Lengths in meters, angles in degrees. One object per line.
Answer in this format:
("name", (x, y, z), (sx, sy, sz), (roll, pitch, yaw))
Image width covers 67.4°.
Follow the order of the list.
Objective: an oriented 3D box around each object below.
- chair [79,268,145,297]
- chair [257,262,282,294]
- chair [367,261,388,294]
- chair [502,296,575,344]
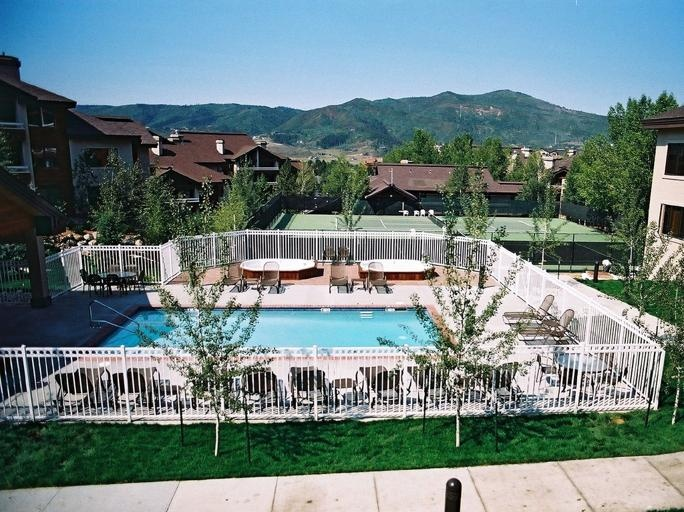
("chair", (-10.162, 1.151, 22.783), (2.443, 0.990, 1.464), (-4, 10, -20))
("chair", (-3.373, 1.191, 23.722), (1.082, 1.123, 1.704), (0, 24, 5))
("chair", (1.639, 1.045, 23.838), (0.954, 1.578, 1.223), (-1, 2, -19))
("chair", (6.942, 2.262, 17.878), (1.928, 1.296, 2.493), (0, 10, 4))
